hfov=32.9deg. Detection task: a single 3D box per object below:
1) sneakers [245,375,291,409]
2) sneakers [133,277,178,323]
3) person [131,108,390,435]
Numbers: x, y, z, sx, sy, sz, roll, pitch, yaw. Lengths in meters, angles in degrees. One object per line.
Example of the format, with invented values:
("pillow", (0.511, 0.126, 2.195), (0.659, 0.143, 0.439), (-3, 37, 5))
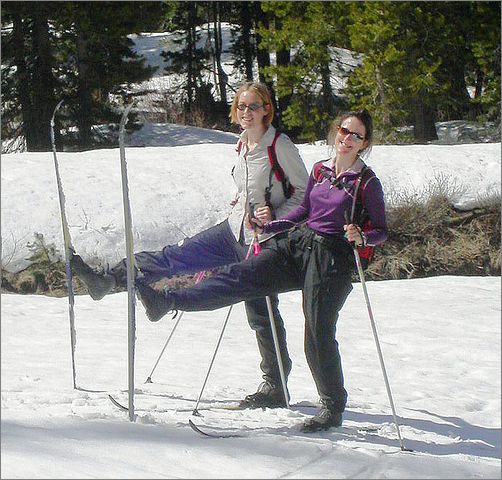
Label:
("sneakers", (0.087, 1.189, 6.508), (0.405, 0.257, 0.164), (-2, -1, -23))
("sneakers", (-0.649, 0.420, 5.781), (0.180, 0.409, 0.144), (-20, 12, -8))
("person", (0.283, 0.168, 5.938), (1.389, 2.278, 0.491), (6, 6, -1))
